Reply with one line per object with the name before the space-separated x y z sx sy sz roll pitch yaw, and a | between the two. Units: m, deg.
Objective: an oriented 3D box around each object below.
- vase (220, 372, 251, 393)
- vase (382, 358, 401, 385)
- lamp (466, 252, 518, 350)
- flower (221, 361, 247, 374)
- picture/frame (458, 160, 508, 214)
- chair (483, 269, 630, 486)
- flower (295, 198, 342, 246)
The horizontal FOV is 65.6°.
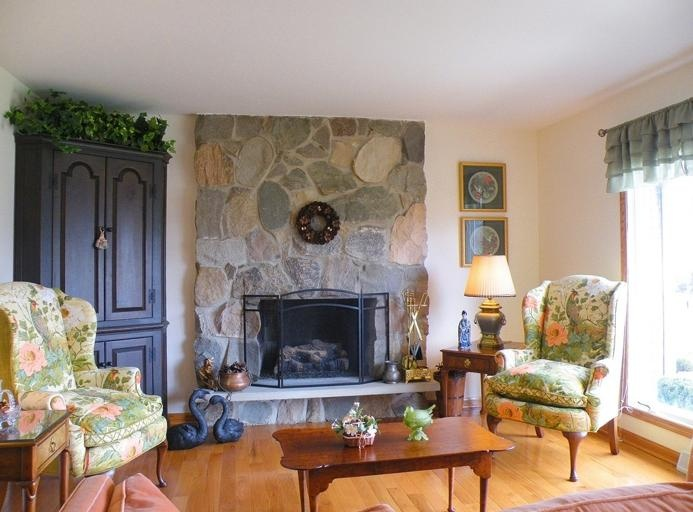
vase | -0.938 1.050 4.510 0.173 0.110 0.179 -2 -5 3
vase | 0.399 1.054 4.861 0.170 0.175 0.175 1 0 -16
lamp | 1.230 0.394 4.574 0.408 0.770 0.411 0 0 40
flower | -0.945 0.949 4.558 0.207 0.069 0.149 3 -4 -45
picture/frame | 1.318 -0.670 5.269 0.492 0.499 0.051 2 -7 -15
chair | 1.577 0.828 4.022 0.830 1.369 0.896 1 -1 -35
flower | -0.253 -0.308 4.966 0.480 0.125 0.511 20 -26 -25
